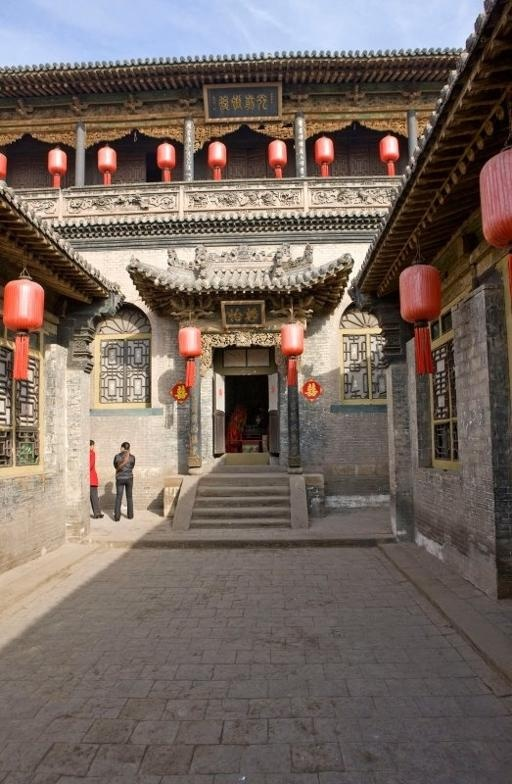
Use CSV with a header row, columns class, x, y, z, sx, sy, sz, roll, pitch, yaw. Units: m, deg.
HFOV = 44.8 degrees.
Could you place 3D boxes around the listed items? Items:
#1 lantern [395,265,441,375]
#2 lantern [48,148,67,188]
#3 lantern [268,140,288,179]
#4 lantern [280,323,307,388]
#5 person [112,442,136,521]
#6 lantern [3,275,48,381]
class,x,y,z,sx,sy,sz,roll,pitch,yaw
lantern,1.447,-0.655,5.466,0.290,0.992,0.309,0,-3,-16
lantern,-4.353,-4.900,13.538,0.338,0.856,0.680,0,-3,-19
lantern,0.446,-5.004,13.182,0.351,0.925,0.540,-1,-3,0
lantern,0.578,-0.636,10.013,0.302,1.060,0.601,-1,-3,5
person,-2.171,1.421,10.147,0.289,1.215,1.461,-1,-3,-11
lantern,-2.080,-0.609,5.575,0.343,0.952,0.299,0,-3,-30
